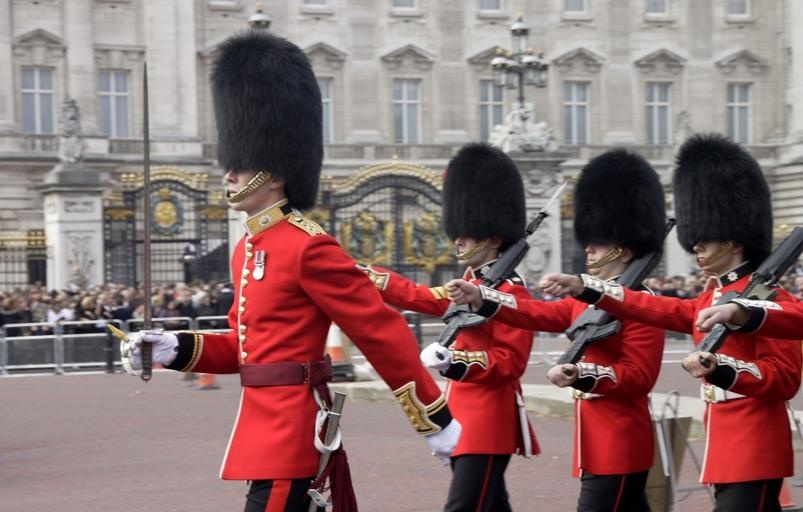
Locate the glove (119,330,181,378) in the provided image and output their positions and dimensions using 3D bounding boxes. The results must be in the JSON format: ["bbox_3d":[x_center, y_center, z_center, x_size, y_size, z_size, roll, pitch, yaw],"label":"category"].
[{"bbox_3d":[-3.785,1.460,29.867,0.829,0.794,0.473,2,-3,0],"label":"glove"}]

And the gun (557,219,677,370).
[{"bbox_3d":[3.114,0.708,30.953,3.591,0.616,1.246,-30,7,-24],"label":"gun"}]
